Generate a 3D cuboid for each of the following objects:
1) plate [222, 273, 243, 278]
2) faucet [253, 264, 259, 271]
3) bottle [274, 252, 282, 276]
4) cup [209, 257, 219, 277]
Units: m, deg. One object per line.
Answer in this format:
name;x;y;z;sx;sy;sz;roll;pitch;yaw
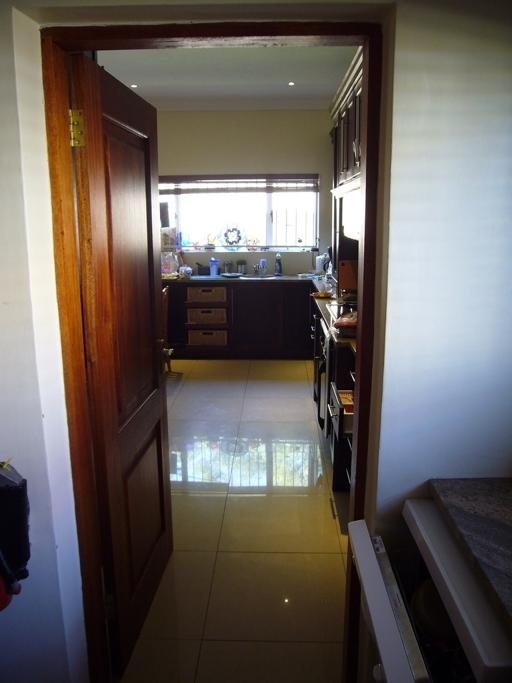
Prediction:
plate;-0.276;-0.783;5.898;0.235;0.041;0.308;-1;12;-2
faucet;0.000;-0.877;5.948;0.047;0.095;0.058;1;4;4
bottle;0.260;-0.919;5.978;0.082;0.251;0.197;0;10;1
cup;-0.508;-0.906;6.056;0.116;0.206;0.160;-1;10;-6
